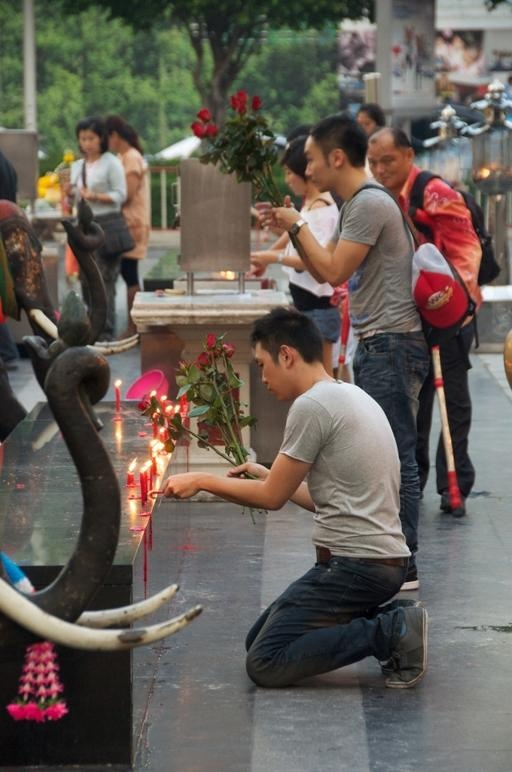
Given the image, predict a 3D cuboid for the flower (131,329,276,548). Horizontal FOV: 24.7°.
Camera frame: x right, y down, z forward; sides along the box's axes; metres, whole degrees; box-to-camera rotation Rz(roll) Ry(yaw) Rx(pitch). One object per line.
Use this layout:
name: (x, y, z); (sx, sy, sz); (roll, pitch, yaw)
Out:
flower: (-0.104, 0.066, 4.247); (0.258, 0.405, 0.261); (-21, 6, 2)

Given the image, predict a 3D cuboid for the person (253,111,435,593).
person: (0.341, -0.163, 4.224); (0.735, 1.542, 0.553); (1, 4, 7)

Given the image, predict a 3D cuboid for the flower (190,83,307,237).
flower: (-0.022, -1.012, 4.924); (0.285, 0.408, 0.233); (-35, -2, 30)

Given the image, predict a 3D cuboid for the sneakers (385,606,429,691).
sneakers: (0.445, 0.769, 3.470); (0.121, 0.265, 0.096); (8, -1, -30)

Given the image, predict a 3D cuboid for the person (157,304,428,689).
person: (0.172, 0.341, 3.465); (0.687, 1.105, 0.313); (1, 11, -4)

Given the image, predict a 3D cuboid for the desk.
desk: (-0.247, -0.162, 6.069); (1.176, 1.017, 0.818); (-1, 10, -3)

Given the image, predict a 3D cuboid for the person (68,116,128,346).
person: (-1.230, -1.403, 9.447); (0.484, 1.460, 0.362); (-1, 12, -12)

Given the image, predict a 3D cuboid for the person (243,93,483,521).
person: (0.454, -0.240, 4.271); (0.612, 1.506, 0.484); (-1, 4, -17)
